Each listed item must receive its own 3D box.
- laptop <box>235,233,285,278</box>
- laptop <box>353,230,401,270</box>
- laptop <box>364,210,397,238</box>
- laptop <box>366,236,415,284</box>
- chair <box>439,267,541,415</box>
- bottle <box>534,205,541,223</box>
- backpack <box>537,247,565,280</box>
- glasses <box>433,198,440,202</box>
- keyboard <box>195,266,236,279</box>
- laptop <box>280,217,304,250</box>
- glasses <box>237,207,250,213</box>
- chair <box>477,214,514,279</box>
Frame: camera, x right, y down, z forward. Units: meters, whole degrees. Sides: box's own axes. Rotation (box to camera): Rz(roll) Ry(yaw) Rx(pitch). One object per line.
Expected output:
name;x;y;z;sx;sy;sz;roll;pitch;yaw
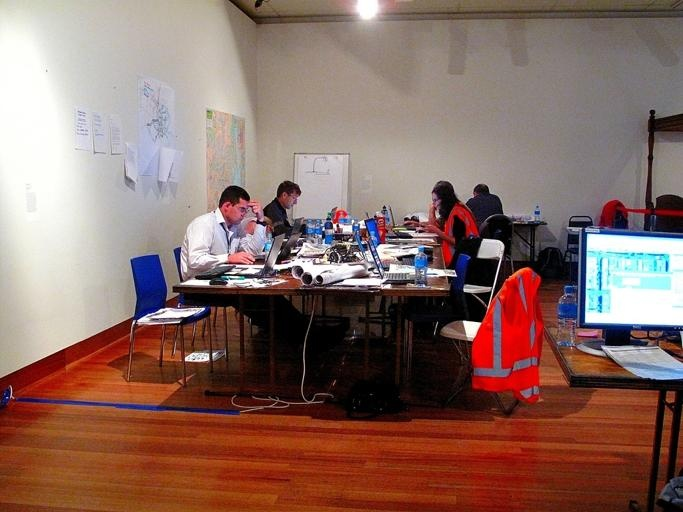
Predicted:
laptop;-0.552;0.001;3.982;0.278;0.308;0.421;14;7;7
laptop;0.293;-0.004;4.212;0.331;0.265;0.437;-3;18;8
laptop;0.491;-0.384;6.356;0.294;0.334;0.585;-6;-16;17
laptop;0.375;0.072;3.901;0.313;0.250;0.410;-2;8;2
chair;1.066;0.543;3.585;0.645;0.910;0.613;2;8;27
bottle;3.327;-0.722;8.760;0.135;0.231;0.190;4;12;19
backpack;3.458;0.135;8.589;0.401;0.561;0.579;2;1;19
glasses;1.074;-0.626;5.854;0.042;0.044;0.043;3;9;25
keyboard;-0.966;0.130;4.005;0.169;0.033;0.308;-6;11;9
laptop;-0.532;-0.218;4.766;0.254;0.244;0.363;13;4;8
glasses;-0.879;-0.407;4.603;0.096;0.031;0.099;1;5;-35
chair;2.144;-0.108;7.247;0.513;0.883;0.532;3;10;33
